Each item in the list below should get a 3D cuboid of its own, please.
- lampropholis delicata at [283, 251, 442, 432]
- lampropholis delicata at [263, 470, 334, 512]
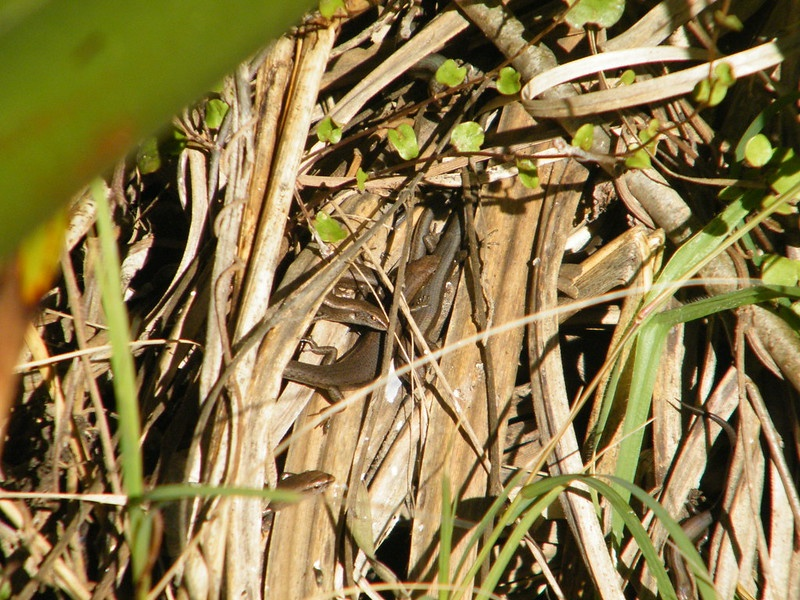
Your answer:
[{"bbox_3d":[-0.188,0.127,4.415,0.152,0.443,1.172,-24,5,-17],"label":"lampropholis delicata"},{"bbox_3d":[-0.330,0.606,3.285,0.218,0.075,0.179,-10,43,-20],"label":"lampropholis delicata"}]
